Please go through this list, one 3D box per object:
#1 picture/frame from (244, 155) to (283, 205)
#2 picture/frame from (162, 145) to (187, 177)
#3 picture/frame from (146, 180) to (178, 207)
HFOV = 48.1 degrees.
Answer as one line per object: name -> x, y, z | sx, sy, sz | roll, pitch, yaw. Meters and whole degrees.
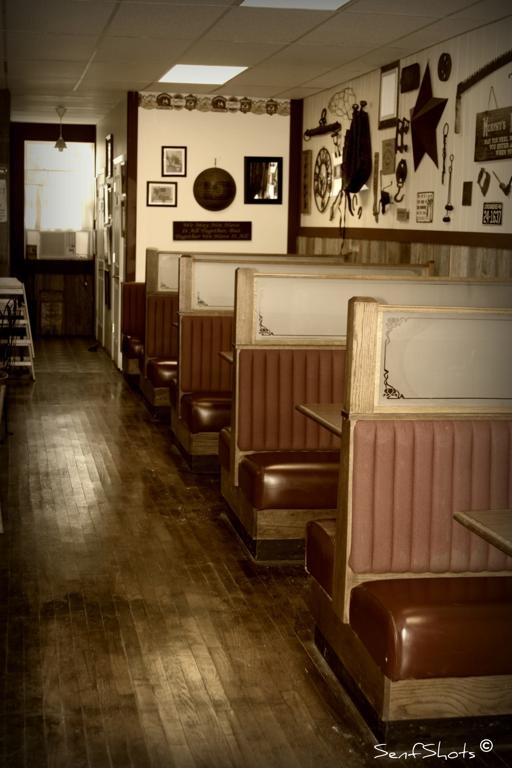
picture/frame -> 0.063, -2.816, 7.826 | 0.551, 0.731, 0.050 | 0, 6, -8
picture/frame -> -1.116, -2.973, 7.588 | 0.353, 0.436, 0.027 | 0, 7, -16
picture/frame -> -1.294, -2.540, 7.606 | 0.308, 0.300, 0.027 | 0, 8, -13
